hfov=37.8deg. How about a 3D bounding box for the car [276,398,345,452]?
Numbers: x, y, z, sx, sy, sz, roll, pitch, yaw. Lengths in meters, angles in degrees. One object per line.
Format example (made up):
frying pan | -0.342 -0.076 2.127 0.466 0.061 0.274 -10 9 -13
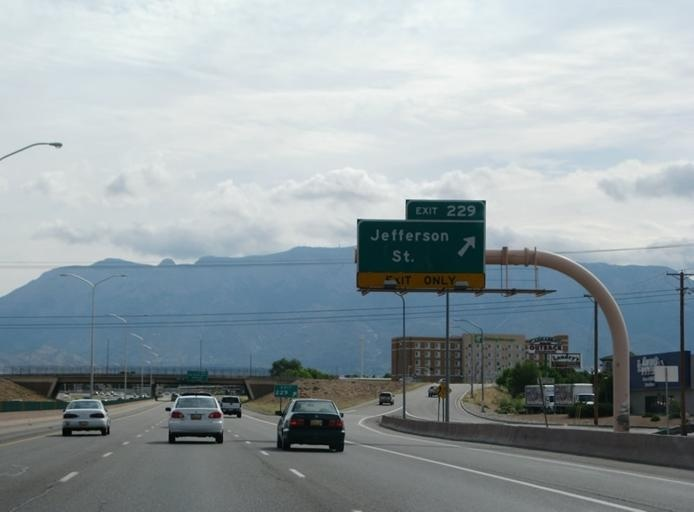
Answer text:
car | -1.558 6.651 39.718 2.563 2.120 4.319 3 -10 -12

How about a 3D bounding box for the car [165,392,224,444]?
car | -6.442 6.722 42.579 1.975 1.570 4.853 1 -6 -13

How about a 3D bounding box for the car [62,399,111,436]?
car | -12.731 7.674 48.585 2.255 1.916 3.932 2 -6 -8
